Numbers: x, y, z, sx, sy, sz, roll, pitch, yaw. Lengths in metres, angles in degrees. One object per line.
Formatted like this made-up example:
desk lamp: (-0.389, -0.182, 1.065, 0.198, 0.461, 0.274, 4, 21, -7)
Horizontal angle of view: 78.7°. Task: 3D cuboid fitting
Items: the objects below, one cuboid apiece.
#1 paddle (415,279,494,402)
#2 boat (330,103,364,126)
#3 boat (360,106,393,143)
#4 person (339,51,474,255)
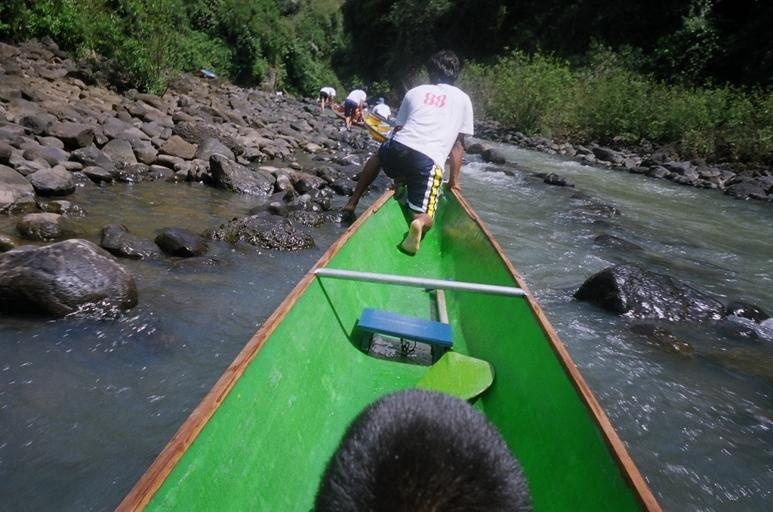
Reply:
paddle: (0.506, 0.754, 3.897, 0.451, 0.165, 0.903, -5, 42, -5)
boat: (-1.791, -6.206, 20.769, 0.695, 0.926, 3.920, -15, 16, -9)
boat: (-0.463, -4.133, 15.805, 0.953, 0.575, 4.140, 34, 19, -18)
person: (0.363, -1.384, 5.812, 1.071, 1.239, 2.900, 11, 53, 2)
